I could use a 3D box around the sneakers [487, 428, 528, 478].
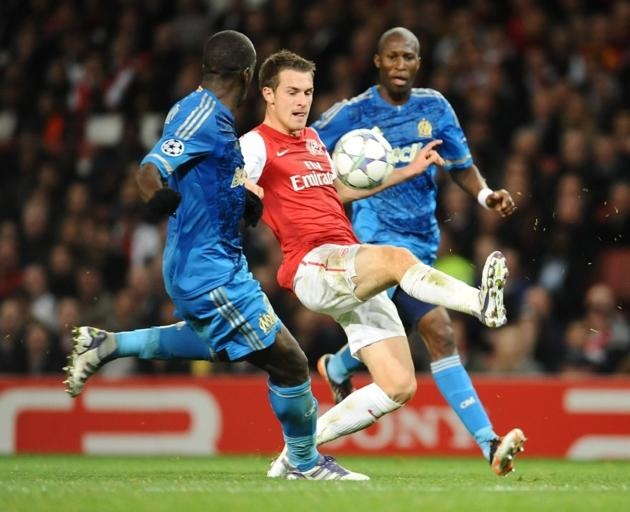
[{"bbox_3d":[1.316,1.365,6.186,0.132,0.336,0.257,26,-3,36],"label":"sneakers"}]

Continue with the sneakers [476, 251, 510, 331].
[{"bbox_3d":[1.101,0.216,5.572,0.158,0.475,0.214,5,-5,-30],"label":"sneakers"}]
